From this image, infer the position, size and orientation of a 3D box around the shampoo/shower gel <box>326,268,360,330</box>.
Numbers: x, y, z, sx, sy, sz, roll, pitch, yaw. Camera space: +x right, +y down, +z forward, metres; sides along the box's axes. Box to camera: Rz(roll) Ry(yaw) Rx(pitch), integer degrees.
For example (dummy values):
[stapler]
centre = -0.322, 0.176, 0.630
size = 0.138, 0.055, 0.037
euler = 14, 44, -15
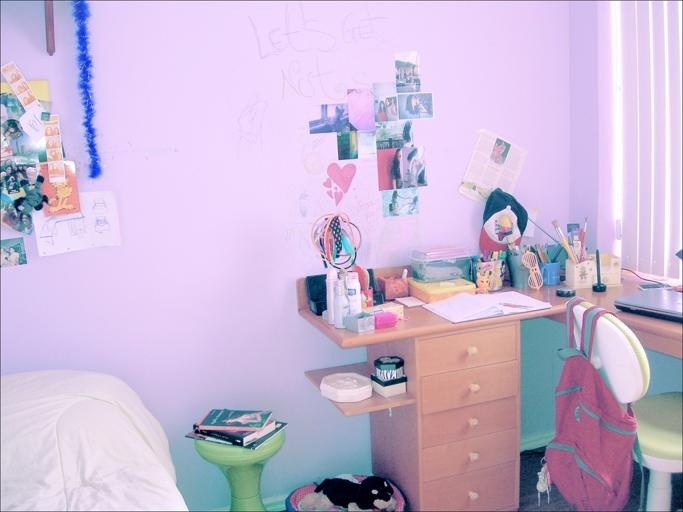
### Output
[shampoo/shower gel]
centre = 0.008, 0.172, 2.293
size = 0.157, 0.249, 0.171
euler = -4, 10, 1

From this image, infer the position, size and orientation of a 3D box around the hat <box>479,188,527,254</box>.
[hat]
centre = 0.857, -0.190, 2.826
size = 0.226, 0.378, 0.101
euler = 0, 13, -21

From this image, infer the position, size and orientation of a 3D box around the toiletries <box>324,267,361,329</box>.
[toiletries]
centre = 0.006, 0.187, 2.323
size = 0.129, 0.260, 0.149
euler = 0, 13, -24

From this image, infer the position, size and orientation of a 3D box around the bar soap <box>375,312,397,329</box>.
[bar soap]
centre = 0.190, 0.257, 2.215
size = 0.065, 0.044, 0.083
euler = -2, 4, -12

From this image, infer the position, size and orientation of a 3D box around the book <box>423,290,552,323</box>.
[book]
centre = 0.643, 0.227, 2.390
size = 0.501, 0.073, 0.472
euler = 0, 9, -15
